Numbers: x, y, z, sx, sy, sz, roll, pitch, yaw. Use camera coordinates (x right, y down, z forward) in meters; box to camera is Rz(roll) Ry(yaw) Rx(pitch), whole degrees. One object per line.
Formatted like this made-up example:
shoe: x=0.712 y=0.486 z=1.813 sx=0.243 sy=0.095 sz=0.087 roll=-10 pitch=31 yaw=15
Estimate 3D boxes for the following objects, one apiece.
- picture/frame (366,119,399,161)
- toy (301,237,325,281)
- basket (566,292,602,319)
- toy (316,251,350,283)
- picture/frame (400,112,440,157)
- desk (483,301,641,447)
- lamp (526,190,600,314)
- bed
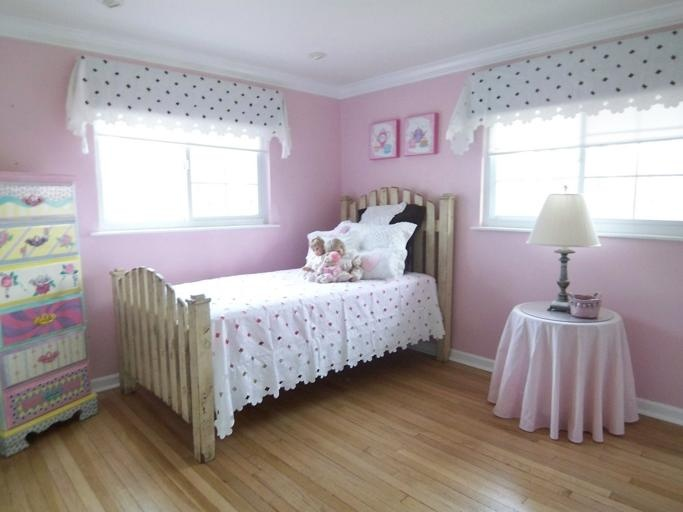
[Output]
picture/frame: x=0.401 y=-1.101 z=4.665 sx=0.077 sy=0.389 sz=0.379 roll=-9 pitch=12 yaw=-44
toy: x=-0.226 y=0.028 z=4.096 sx=0.139 sy=0.333 sz=0.211 roll=11 pitch=-4 yaw=-33
basket: x=1.577 y=0.327 z=3.182 sx=0.184 sy=0.156 sz=0.136 roll=2 pitch=-2 yaw=-45
toy: x=-0.073 y=0.114 z=3.901 sx=0.198 sy=0.126 sz=0.270 roll=-25 pitch=55 yaw=-20
picture/frame: x=0.715 y=-1.085 z=4.382 sx=0.044 sy=0.405 sz=0.390 roll=-9 pitch=13 yaw=-37
desk: x=1.512 y=0.759 z=3.387 sx=0.832 sy=0.644 sz=0.838 roll=3 pitch=12 yaw=16
lamp: x=1.539 y=-0.045 z=3.350 sx=0.402 sy=0.826 sz=0.462 roll=7 pitch=13 yaw=42
bed: x=-0.435 y=0.162 z=4.201 sx=2.637 sy=1.849 sz=1.545 roll=-11 pitch=15 yaw=-41
